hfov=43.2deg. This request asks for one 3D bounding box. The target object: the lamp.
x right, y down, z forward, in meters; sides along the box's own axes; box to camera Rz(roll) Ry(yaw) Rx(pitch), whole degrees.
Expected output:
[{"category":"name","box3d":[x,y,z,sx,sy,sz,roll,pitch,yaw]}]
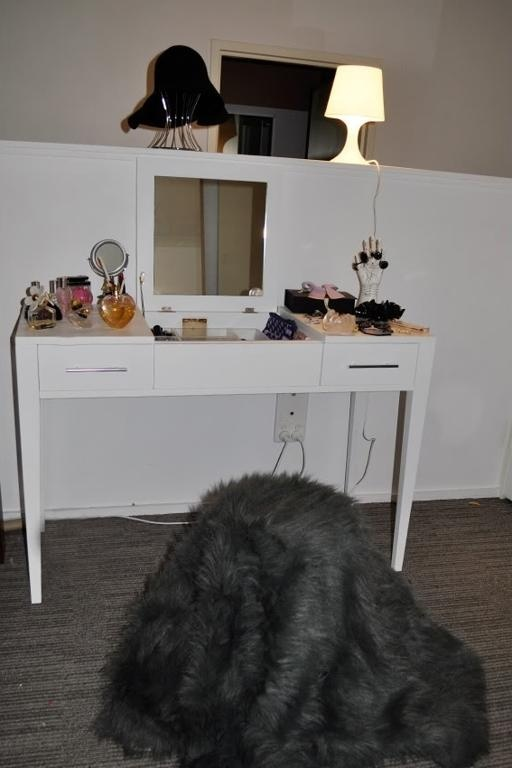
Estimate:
[{"category":"lamp","box3d":[0.316,-0.870,2.093,0.185,0.336,0.381,4,14,7]}]

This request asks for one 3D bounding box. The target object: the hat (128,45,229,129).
[{"category":"hat","box3d":[-0.202,-0.801,1.825,0.282,0.193,0.263,-2,25,-3]}]

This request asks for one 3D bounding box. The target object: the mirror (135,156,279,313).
[{"category":"mirror","box3d":[-0.156,-0.434,1.829,0.462,0.505,0.020,-3,15,-11]}]

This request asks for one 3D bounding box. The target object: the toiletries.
[{"category":"toiletries","box3d":[-0.449,-0.210,1.625,0.257,0.107,0.305,-2,15,-18]}]
